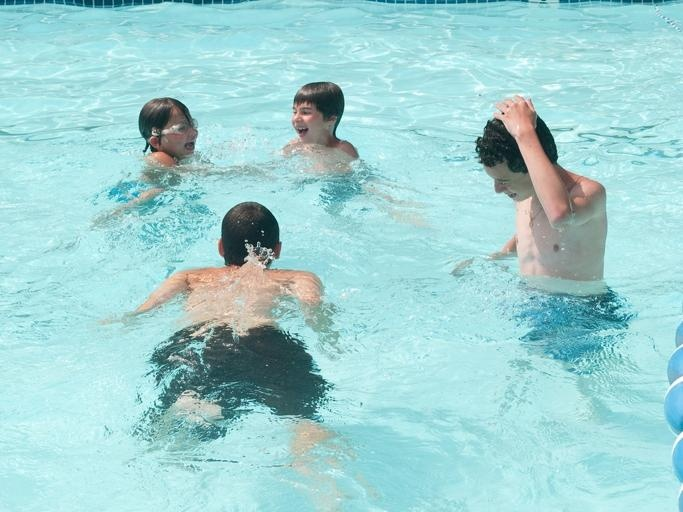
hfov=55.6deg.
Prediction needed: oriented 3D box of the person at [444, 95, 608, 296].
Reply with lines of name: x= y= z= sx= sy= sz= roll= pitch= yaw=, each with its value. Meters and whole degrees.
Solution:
person: x=1.047 y=-0.299 z=3.334 sx=0.459 sy=0.914 sz=0.796 roll=-22 pitch=45 yaw=-24

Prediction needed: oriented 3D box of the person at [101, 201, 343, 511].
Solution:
person: x=-0.475 y=0.454 z=3.099 sx=1.067 sy=0.449 sz=1.330 roll=0 pitch=42 yaw=-11
